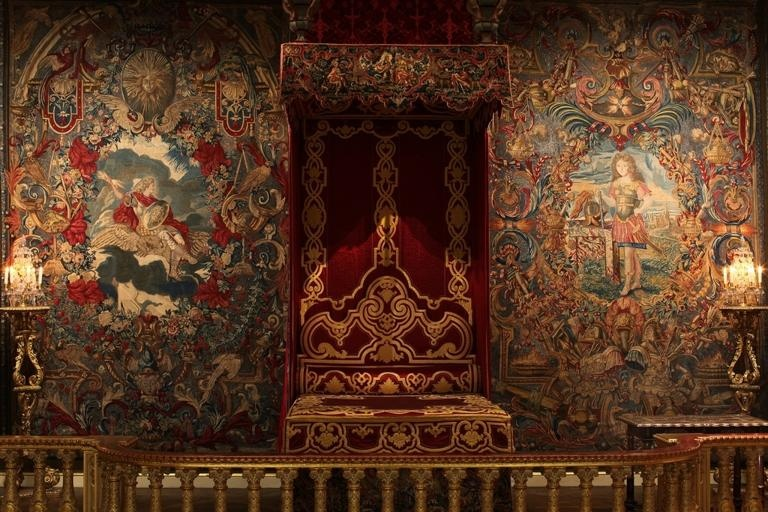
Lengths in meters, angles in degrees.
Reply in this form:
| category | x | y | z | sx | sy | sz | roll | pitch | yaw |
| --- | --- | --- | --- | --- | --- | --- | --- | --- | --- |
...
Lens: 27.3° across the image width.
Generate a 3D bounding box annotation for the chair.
| category | x | y | z | sx | sy | sz | roll | pitch | yaw |
| --- | --- | --- | --- | --- | --- | --- | --- | --- | --- |
| chair | 0.130 | 0.046 | 14.545 | 2.107 | 3.729 | 1.630 | 0 | -17 | 4 |
